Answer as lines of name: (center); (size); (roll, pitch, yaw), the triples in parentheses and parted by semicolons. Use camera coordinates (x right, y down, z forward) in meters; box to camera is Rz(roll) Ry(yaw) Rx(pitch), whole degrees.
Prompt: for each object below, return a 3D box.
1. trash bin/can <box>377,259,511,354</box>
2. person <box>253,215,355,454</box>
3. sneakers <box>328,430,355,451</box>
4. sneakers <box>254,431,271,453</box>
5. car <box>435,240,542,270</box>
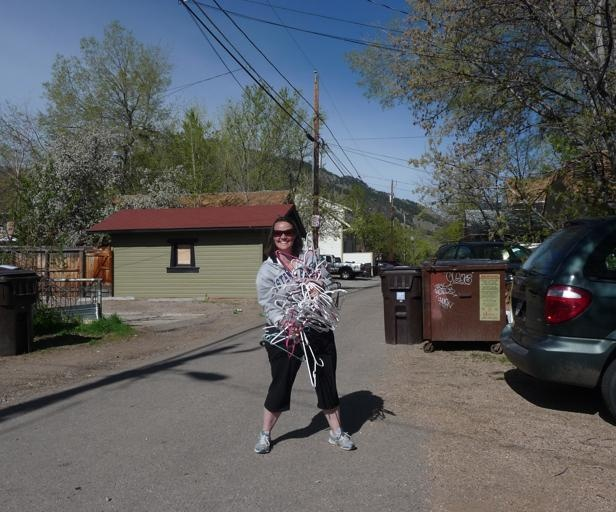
trash bin/can: (2.434, 0.914, 9.099); (2.105, 1.546, 0.653); (-1, 1, 15)
person: (-0.083, 0.724, 4.735); (0.857, 2.195, 0.451); (-1, 1, -8)
sneakers: (0.318, 1.746, 4.798); (0.115, 0.142, 0.268); (3, -6, -41)
sneakers: (-0.416, 1.728, 4.646); (0.092, 0.114, 0.224); (0, -5, -2)
car: (4.317, -0.033, 12.065); (1.506, 0.728, 0.750); (-4, -2, 22)
